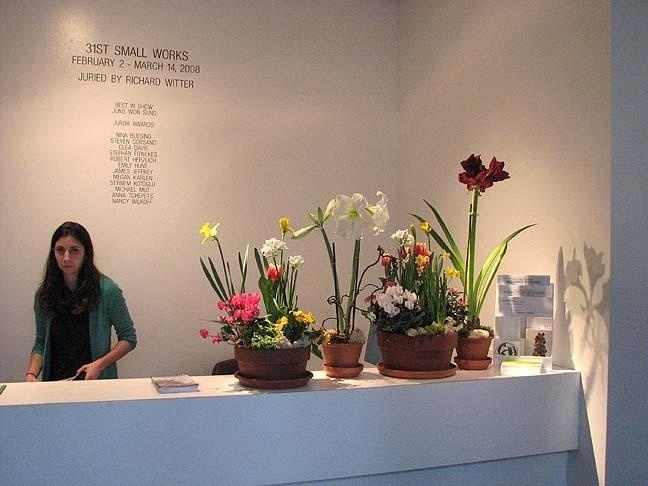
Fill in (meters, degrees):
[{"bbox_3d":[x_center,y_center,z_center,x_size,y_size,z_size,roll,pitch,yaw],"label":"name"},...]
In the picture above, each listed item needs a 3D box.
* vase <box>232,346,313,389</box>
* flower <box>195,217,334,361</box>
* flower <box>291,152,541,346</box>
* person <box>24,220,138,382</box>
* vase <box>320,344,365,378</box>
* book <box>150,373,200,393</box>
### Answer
[{"bbox_3d":[-0.205,0.498,2.130,0.188,0.099,0.203,1,-5,-13],"label":"vase"},{"bbox_3d":[-0.285,0.238,2.390,0.494,0.637,0.616,-4,-12,22],"label":"flower"},{"bbox_3d":[0.526,0.110,2.898,0.824,1.160,1.027,-4,-7,40],"label":"flower"},{"bbox_3d":[-1.314,0.311,2.907,0.525,0.820,0.280,-2,1,-10],"label":"person"},{"bbox_3d":[0.084,0.508,2.353,0.136,0.118,0.148,0,0,9],"label":"vase"},{"bbox_3d":[-0.592,0.562,2.138,0.182,0.049,0.221,-3,0,-21],"label":"book"}]
